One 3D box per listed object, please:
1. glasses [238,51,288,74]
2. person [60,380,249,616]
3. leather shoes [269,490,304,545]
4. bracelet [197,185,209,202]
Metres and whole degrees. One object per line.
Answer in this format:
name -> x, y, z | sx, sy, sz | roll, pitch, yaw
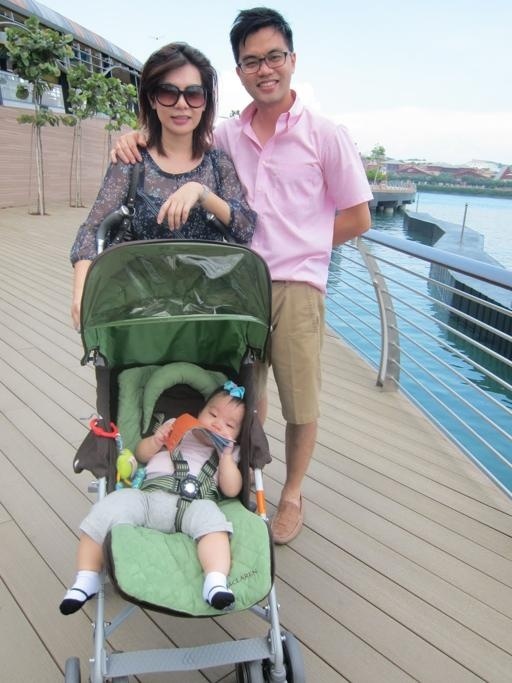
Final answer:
glasses -> 0.025, -0.861, 1.519 | 0.140, 0.065, 0.038 | 4, 19, 5
person -> -0.225, 0.366, 1.370 | 0.340, 0.298, 0.758 | 10, 18, -4
leather shoes -> 0.119, 0.672, 1.895 | 0.124, 0.096, 0.295 | -3, 33, 14
bracelet -> -0.156, -0.435, 1.474 | 0.034, 0.052, 0.049 | 4, -14, -26
